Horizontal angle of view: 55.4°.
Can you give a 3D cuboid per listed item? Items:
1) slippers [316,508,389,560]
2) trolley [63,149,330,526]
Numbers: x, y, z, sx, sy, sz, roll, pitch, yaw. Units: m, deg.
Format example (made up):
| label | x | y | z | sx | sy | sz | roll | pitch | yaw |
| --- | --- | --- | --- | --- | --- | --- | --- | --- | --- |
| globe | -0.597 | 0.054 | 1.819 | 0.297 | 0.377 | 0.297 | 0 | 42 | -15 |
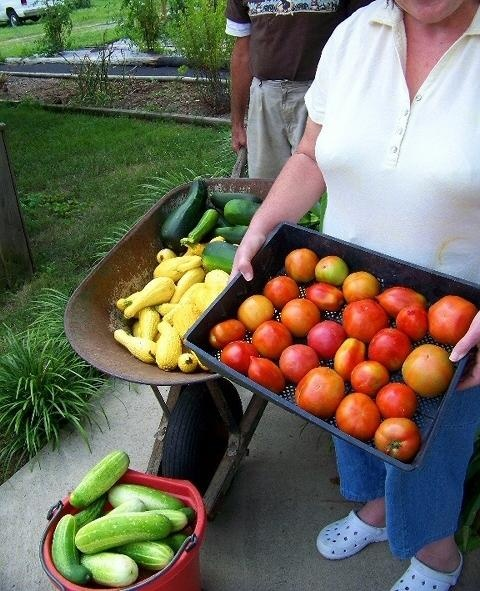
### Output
| label | x | y | z | sx | sy | sz | roll | pitch | yaw |
| --- | --- | --- | --- | --- | --- | --- | --- | --- | --- |
| slippers | 0.417 | 0.940 | 1.848 | 0.319 | 0.132 | 0.141 | -13 | 27 | -3 |
| trolley | -0.060 | -0.030 | 2.014 | 0.606 | 0.770 | 1.665 | 4 | 48 | 19 |
